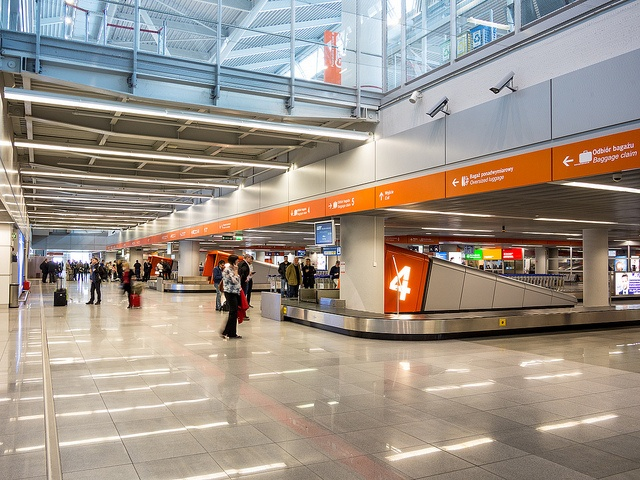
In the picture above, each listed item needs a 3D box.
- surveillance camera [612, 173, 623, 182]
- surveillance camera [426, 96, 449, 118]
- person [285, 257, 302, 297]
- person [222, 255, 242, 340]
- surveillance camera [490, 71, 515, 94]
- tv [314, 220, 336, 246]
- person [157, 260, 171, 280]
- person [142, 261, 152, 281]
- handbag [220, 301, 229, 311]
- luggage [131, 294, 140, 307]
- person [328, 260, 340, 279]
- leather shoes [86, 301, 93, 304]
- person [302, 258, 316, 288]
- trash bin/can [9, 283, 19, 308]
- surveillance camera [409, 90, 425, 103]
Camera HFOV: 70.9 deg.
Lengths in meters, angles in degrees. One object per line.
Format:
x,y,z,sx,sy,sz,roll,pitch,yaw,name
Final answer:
5.077,-1.070,7.662,0.114,0.079,0.109,1,-6,2,surveillance camera
2.607,-2.919,9.927,0.227,0.423,0.544,2,-2,-37,surveillance camera
-1.002,1.463,17.022,0.611,1.305,1.422,1,-2,-4,person
-2.143,1.369,10.896,0.439,1.980,0.551,1,-2,-12,person
3.572,-3.016,8.761,0.456,0.440,0.321,0,-2,24,surveillance camera
0.138,-0.221,13.737,0.128,0.626,0.912,1,-5,-34,tv
-12.158,2.383,34.811,0.918,1.195,0.543,2,25,-7,person
-14.824,2.658,38.326,0.487,1.680,1.598,1,-2,-23,person
-2.317,1.614,10.864,0.195,0.095,0.322,15,-36,-12,handbag
-7.124,2.324,17.194,0.362,0.517,0.297,1,-2,-17,luggage
0.567,1.215,18.062,0.297,0.721,0.906,1,-2,-3,person
-9.587,2.580,18.580,0.239,0.113,0.497,2,-2,-29,leather shoes
-0.479,1.322,17.597,0.462,1.121,1.171,1,-2,-2,person
-11.576,2.085,16.886,0.274,0.868,0.427,2,-2,-34,trash bin/can
2.258,-3.378,10.581,0.189,0.322,0.324,2,38,26,surveillance camera
